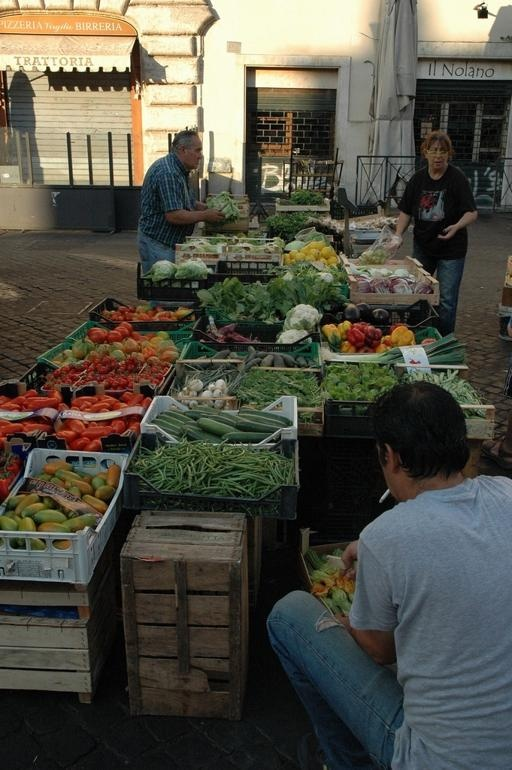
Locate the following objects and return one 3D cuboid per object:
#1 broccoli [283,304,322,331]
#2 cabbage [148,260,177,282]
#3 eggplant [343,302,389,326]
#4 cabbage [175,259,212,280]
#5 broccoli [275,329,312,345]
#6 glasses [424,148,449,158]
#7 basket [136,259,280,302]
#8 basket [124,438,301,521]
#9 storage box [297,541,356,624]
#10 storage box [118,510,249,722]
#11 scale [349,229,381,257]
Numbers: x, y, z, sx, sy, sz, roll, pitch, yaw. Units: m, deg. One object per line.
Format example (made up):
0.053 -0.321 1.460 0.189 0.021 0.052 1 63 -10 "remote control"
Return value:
0.396 -0.569 4.855 0.217 0.157 0.278 -5 8 1 "broccoli"
-0.909 -1.116 5.682 0.187 0.140 0.244 -10 24 9 "cabbage"
0.963 -0.607 4.993 0.369 0.174 0.179 17 28 1 "eggplant"
-0.606 -1.152 5.758 0.232 0.145 0.303 5 5 14 "cabbage"
0.301 -0.390 4.617 0.182 0.082 0.156 -9 28 19 "broccoli"
1.878 -2.404 5.950 0.260 0.083 0.167 8 18 24 "glasses"
-0.554 -1.287 6.280 1.766 0.518 0.959 -2 19 -4 "basket"
-0.205 0.417 2.605 0.619 0.189 0.394 2 28 0 "basket"
0.366 0.938 2.870 0.316 0.148 0.425 1 11 4 "storage box"
-0.294 0.981 2.441 0.489 0.741 0.397 0 17 1 "storage box"
1.559 -2.122 8.324 0.499 0.246 0.697 -5 20 -3 "scale"
